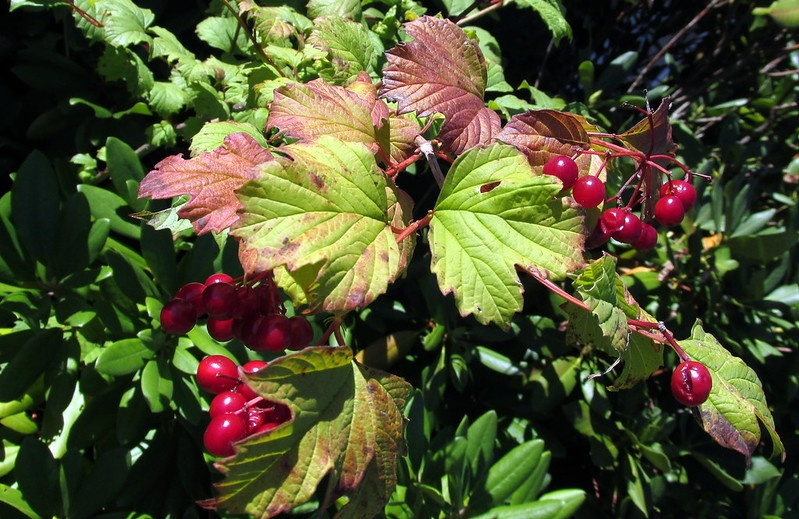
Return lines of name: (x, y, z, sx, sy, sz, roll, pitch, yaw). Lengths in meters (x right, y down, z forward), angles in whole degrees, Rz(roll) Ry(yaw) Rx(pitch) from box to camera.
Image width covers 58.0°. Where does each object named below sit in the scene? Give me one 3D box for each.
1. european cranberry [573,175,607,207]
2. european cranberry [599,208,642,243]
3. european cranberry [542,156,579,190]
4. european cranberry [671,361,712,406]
european cranberry: (0.737, -0.256, 2.848, 0.111, 0.156, 0.121, -7, -1, -1)
european cranberry: (0.889, -0.138, 2.907, 0.140, 0.090, 0.128, 14, 52, -19)
european cranberry: (0.641, -0.351, 2.895, 0.114, 0.164, 0.130, 3, 6, 1)
european cranberry: (1.149, 0.474, 2.884, 0.149, 0.213, 0.162, 0, 0, -5)
